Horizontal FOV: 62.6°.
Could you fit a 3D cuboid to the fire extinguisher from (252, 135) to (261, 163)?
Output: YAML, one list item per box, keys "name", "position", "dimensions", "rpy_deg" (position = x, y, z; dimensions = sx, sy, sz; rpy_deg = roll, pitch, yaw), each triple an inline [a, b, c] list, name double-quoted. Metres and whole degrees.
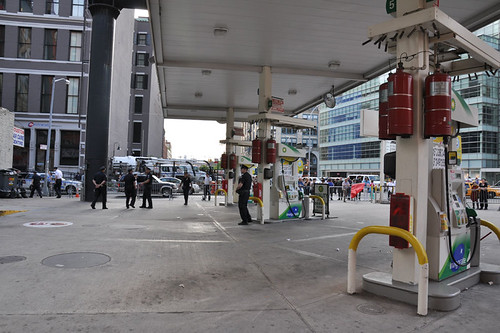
- name: "fire extinguisher"
  position: [0.253, -0.625, 16.204]
  dimensions: [0.372, 1.038, 0.483]
  rpy_deg: [1, 7, 0]

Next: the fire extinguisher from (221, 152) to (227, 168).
- name: "fire extinguisher"
  position: [-1.427, -0.309, 22.676]
  dimensions: [0.287, 0.878, 0.464]
  rpy_deg: [-2, 7, -22]

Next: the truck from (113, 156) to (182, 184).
- name: "truck"
  position: [-8.405, 0.229, 36.993]
  dimensions: [7.810, 3.039, 2.157]
  rpy_deg: [-2, 2, -12]

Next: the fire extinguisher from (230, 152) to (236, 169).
- name: "fire extinguisher"
  position: [-0.942, -0.301, 22.557]
  dimensions: [0.322, 0.772, 0.211]
  rpy_deg: [1, 7, 5]

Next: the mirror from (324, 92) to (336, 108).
- name: "mirror"
  position: [3.502, -2.923, 18.133]
  dimensions: [0.495, 0.580, 0.402]
  rpy_deg: [0, 7, -3]

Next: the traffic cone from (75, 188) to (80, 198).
- name: "traffic cone"
  position: [-12.248, 1.835, 29.209]
  dimensions: [0.475, 0.647, 0.463]
  rpy_deg: [3, -4, -17]

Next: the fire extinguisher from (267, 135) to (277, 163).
- name: "fire extinguisher"
  position: [0.878, -0.627, 16.298]
  dimensions: [0.468, 1.010, 0.365]
  rpy_deg: [-1, 7, -16]

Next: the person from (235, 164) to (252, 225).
- name: "person"
  position: [-0.212, 1.076, 15.865]
  dimensions: [0.818, 1.973, 0.674]
  rpy_deg: [1, -1, -17]

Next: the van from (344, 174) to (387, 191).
- name: "van"
  position: [11.872, 1.300, 41.958]
  dimensions: [3.974, 2.181, 2.961]
  rpy_deg: [0, 0, -14]

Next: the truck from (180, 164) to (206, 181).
- name: "truck"
  position: [-5.318, 0.500, 40.074]
  dimensions: [3.084, 1.601, 1.100]
  rpy_deg: [-3, 5, -38]

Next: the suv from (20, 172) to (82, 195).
- name: "suv"
  position: [-14.011, 1.224, 28.834]
  dimensions: [2.973, 1.253, 1.586]
  rpy_deg: [0, -3, -3]
